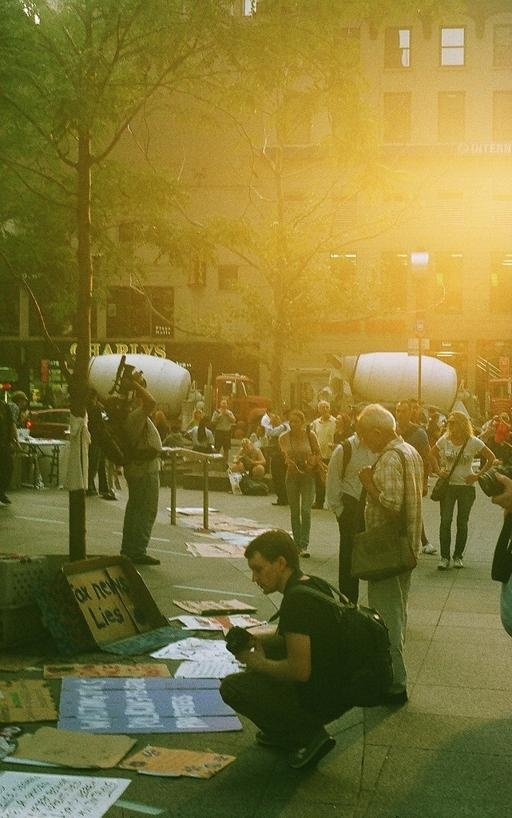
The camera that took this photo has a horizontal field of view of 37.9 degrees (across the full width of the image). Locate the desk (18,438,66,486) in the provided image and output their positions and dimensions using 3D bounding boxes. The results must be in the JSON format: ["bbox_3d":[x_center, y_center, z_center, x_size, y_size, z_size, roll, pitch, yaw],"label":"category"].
[{"bbox_3d":[-4.364,1.143,15.374,0.878,0.949,0.754,3,2,-16],"label":"desk"}]

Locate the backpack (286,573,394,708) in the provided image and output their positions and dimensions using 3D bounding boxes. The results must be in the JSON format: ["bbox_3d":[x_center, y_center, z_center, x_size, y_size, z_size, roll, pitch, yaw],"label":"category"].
[{"bbox_3d":[0.292,0.975,3.237,0.559,0.592,0.405,-4,4,-1],"label":"backpack"}]

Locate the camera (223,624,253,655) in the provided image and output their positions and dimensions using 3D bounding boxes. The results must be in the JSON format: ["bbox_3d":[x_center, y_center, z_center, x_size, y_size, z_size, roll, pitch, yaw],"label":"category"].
[{"bbox_3d":[-0.064,0.966,3.127,0.114,0.118,0.205,2,-6,5],"label":"camera"}]

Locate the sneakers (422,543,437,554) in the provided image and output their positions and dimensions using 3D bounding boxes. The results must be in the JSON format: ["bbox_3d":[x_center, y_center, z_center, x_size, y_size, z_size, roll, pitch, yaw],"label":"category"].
[{"bbox_3d":[2.228,1.831,9.638,0.119,0.100,0.227,0,2,12],"label":"sneakers"}]

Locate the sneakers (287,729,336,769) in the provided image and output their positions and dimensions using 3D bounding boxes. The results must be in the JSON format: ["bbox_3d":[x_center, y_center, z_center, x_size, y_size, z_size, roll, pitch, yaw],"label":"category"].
[{"bbox_3d":[0.232,1.448,3.139,0.221,0.054,0.104,-41,35,-15],"label":"sneakers"}]
